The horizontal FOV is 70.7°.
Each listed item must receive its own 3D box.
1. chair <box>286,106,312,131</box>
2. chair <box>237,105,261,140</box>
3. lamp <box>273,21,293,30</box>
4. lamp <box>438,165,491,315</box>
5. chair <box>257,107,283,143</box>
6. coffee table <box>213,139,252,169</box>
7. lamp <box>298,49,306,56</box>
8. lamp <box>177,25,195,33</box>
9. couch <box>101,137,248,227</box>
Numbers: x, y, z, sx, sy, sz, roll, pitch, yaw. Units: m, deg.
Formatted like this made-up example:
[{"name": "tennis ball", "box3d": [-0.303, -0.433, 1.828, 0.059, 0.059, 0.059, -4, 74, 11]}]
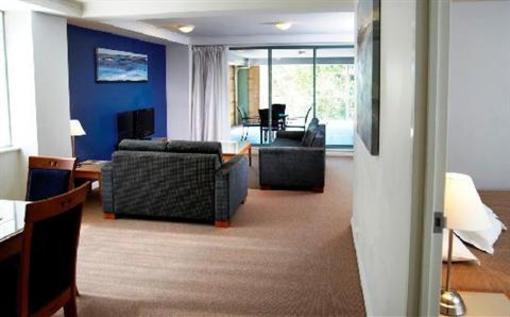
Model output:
[{"name": "chair", "box3d": [1.131, -1.010, 9.066, 0.664, 0.917, 0.555, 2, 7, 5]}, {"name": "chair", "box3d": [-0.297, -0.984, 9.935, 0.864, 1.182, 0.751, 2, 12, 8]}, {"name": "lamp", "box3d": [0.570, -2.690, 7.204, 0.309, 0.105, 0.389, -3, 11, -12]}, {"name": "lamp", "box3d": [1.486, 0.623, 2.559, 0.299, 1.053, 0.461, 6, 12, 29]}, {"name": "chair", "box3d": [0.368, -0.976, 9.578, 0.617, 1.011, 0.700, 2, 14, 14]}, {"name": "coffee table", "box3d": [-0.437, -0.199, 7.299, 0.491, 0.420, 0.923, 1, 11, 8]}, {"name": "lamp", "box3d": [1.193, -2.706, 9.146, 0.203, 0.158, 0.039, 1, 11, 6]}, {"name": "lamp", "box3d": [-1.386, -2.696, 7.395, 0.340, 0.121, 0.284, 8, 14, 37]}, {"name": "couch", "box3d": [-1.017, 0.085, 5.301, 1.752, 1.084, 1.222, 2, 9, 9]}]
